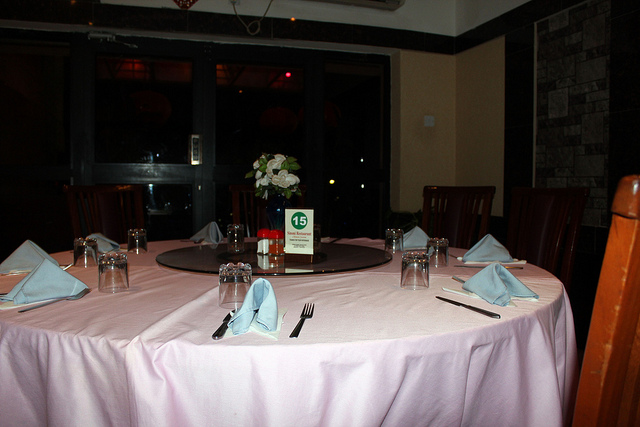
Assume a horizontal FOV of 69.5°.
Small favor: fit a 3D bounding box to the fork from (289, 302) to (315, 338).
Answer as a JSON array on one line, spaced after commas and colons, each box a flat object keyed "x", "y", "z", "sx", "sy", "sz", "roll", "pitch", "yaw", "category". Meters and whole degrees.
[{"x": -0.062, "y": 0.350, "z": 1.526, "sx": 0.031, "sy": 0.021, "sz": 0.154, "roll": -1, "pitch": 27, "yaw": 18, "category": "fork"}]

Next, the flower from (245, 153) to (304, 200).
[{"x": -0.223, "y": -0.175, "z": 2.481, "sx": 0.256, "sy": 0.169, "sz": 0.262, "roll": 1, "pitch": 28, "yaw": 1, "category": "flower"}]

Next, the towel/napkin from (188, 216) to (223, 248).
[{"x": -0.677, "y": 0.125, "z": 2.715, "sx": 0.169, "sy": 0.106, "sz": 0.129, "roll": 0, "pitch": 1, "yaw": 19, "category": "towel/napkin"}]

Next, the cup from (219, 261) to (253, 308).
[{"x": -0.302, "y": 0.258, "z": 1.649, "sx": 0.136, "sy": 0.165, "sz": 0.140, "roll": 1, "pitch": -4, "yaw": 0, "category": "cup"}]

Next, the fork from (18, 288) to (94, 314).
[{"x": -0.969, "y": 0.316, "z": 1.678, "sx": 0.172, "sy": 0.047, "sz": 0.069, "roll": -3, "pitch": -3, "yaw": -18, "category": "fork"}]

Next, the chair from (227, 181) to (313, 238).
[{"x": -0.356, "y": -0.006, "z": 3.613, "sx": 0.506, "sy": 0.690, "sz": 0.563, "roll": 7, "pitch": 5, "yaw": 2, "category": "chair"}]

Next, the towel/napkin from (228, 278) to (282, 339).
[{"x": -0.212, "y": 0.298, "z": 1.489, "sx": 0.156, "sy": 0.155, "sz": 0.129, "roll": -1, "pitch": 6, "yaw": 3, "category": "towel/napkin"}]

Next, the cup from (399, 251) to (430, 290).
[{"x": 0.379, "y": 0.230, "z": 1.818, "sx": 0.118, "sy": 0.141, "sz": 0.128, "roll": 0, "pitch": -2, "yaw": 0, "category": "cup"}]

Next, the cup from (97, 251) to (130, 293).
[{"x": -0.817, "y": 0.231, "z": 1.859, "sx": 0.131, "sy": 0.157, "sz": 0.133, "roll": 1, "pitch": 5, "yaw": 0, "category": "cup"}]

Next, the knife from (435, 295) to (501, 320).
[{"x": 0.526, "y": 0.332, "z": 1.620, "sx": 0.031, "sy": 0.017, "sz": 0.202, "roll": -11, "pitch": 15, "yaw": -39, "category": "knife"}]
